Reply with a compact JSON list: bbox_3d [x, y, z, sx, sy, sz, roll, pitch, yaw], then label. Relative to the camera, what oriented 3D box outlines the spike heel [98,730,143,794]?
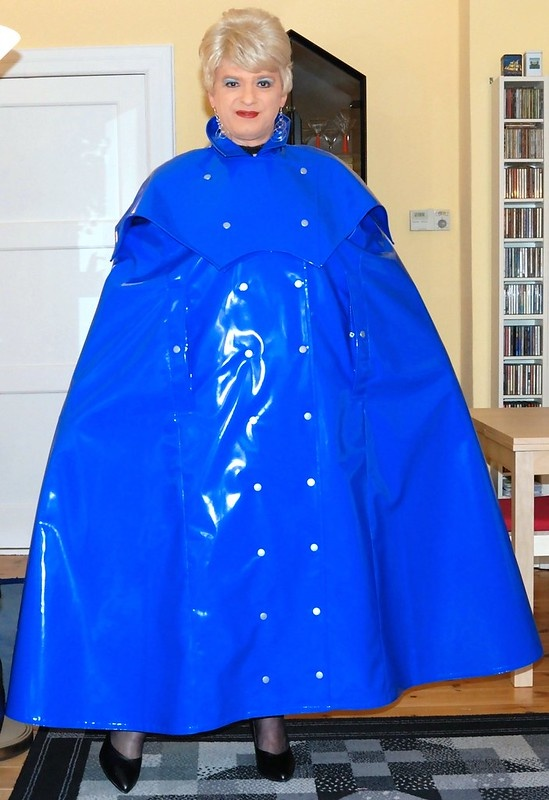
[{"bbox_3d":[-0.292,0.689,1.491,0.056,0.113,0.027,15,-49,-45],"label":"spike heel"}]

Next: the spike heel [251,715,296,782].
[{"bbox_3d":[-0.010,0.671,1.526,0.056,0.061,0.160,-2,17,-12],"label":"spike heel"}]
